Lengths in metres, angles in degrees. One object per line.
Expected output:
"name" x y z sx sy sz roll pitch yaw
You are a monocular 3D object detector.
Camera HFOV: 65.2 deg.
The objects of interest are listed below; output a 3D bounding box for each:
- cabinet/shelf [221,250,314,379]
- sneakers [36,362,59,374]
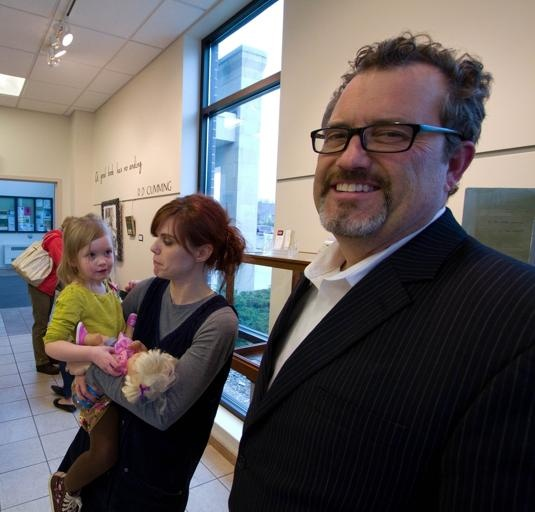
"cabinet/shelf" -0.019 0.334 2.160 0.260 0.636 0.652 -3 2 -44
"sneakers" -2.172 1.115 4.199 0.249 0.121 0.100 1 3 0
